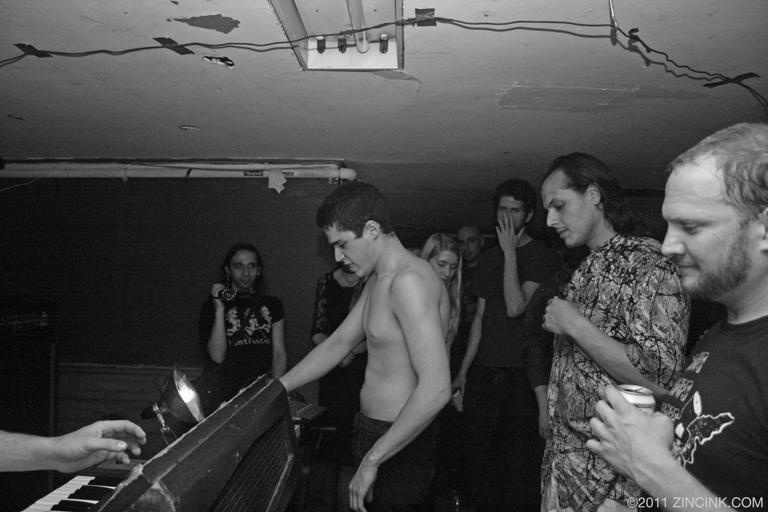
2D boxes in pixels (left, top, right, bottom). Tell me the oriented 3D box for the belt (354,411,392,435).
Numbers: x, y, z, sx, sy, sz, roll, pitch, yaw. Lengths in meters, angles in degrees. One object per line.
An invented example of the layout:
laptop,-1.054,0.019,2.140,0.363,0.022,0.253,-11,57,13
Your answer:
belt,-0.050,0.739,2.672,0.093,0.040,0.112,17,-3,-34

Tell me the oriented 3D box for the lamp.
lamp,-0.937,0.660,2.620,0.300,0.256,0.224,13,-5,-20

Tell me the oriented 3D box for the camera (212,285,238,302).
camera,-1.012,0.238,3.905,0.107,0.039,0.107,6,-26,9
